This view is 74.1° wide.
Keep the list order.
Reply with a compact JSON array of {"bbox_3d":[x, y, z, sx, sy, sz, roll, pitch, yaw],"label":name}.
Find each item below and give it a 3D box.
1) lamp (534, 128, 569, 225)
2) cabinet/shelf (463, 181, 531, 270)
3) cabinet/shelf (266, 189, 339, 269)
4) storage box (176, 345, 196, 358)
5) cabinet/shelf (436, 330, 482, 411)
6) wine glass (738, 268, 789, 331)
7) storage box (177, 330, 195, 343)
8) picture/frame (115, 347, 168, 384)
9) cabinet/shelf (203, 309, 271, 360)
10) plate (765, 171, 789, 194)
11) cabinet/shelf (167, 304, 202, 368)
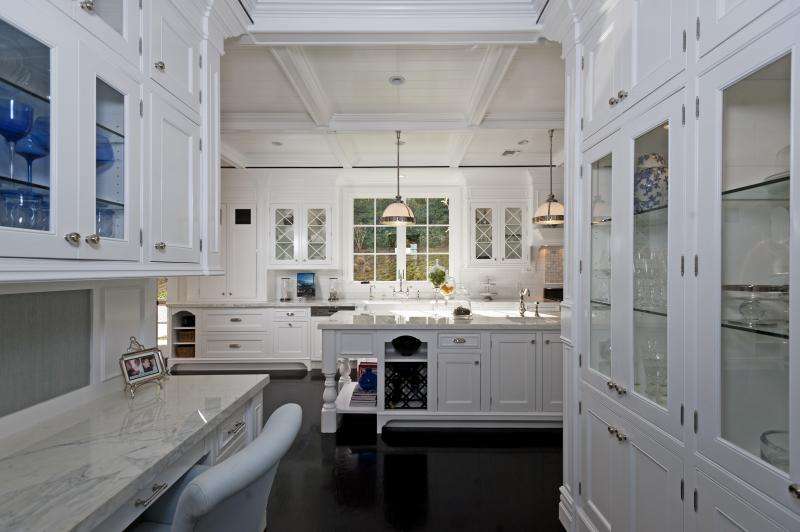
[{"bbox_3d":[1.832,-0.968,6.243,0.374,1.174,1.756,10,14,14],"label":"lamp"},{"bbox_3d":[1.335,-0.539,7.101,1.250,1.503,0.556,0,-2,1],"label":"cabinet/shelf"},{"bbox_3d":[-1.314,-0.522,6.951,1.123,1.041,0.425,0,-1,-5],"label":"cabinet/shelf"},{"bbox_3d":[-2.729,1.062,6.688,0.187,0.106,0.181,1,-3,-9],"label":"storage box"},{"bbox_3d":[0.513,0.906,4.581,0.407,0.649,0.171,5,14,-1],"label":"cabinet/shelf"},{"bbox_3d":[1.381,0.141,2.062,0.180,0.161,0.174,1,-1,12],"label":"wine glass"},{"bbox_3d":[-2.756,0.888,6.798,0.177,0.100,0.171,1,-4,-8],"label":"storage box"},{"bbox_3d":[-1.499,0.564,3.026,0.064,0.207,0.235,-31,-18,31],"label":"picture/frame"},{"bbox_3d":[-2.258,0.874,6.823,1.045,0.688,0.577,6,-13,-42],"label":"cabinet/shelf"},{"bbox_3d":[1.436,-0.321,2.004,0.017,0.086,0.089,0,15,-23],"label":"plate"},{"bbox_3d":[-2.741,0.839,6.711,0.320,0.633,0.207,0,-4,-7],"label":"cabinet/shelf"}]
